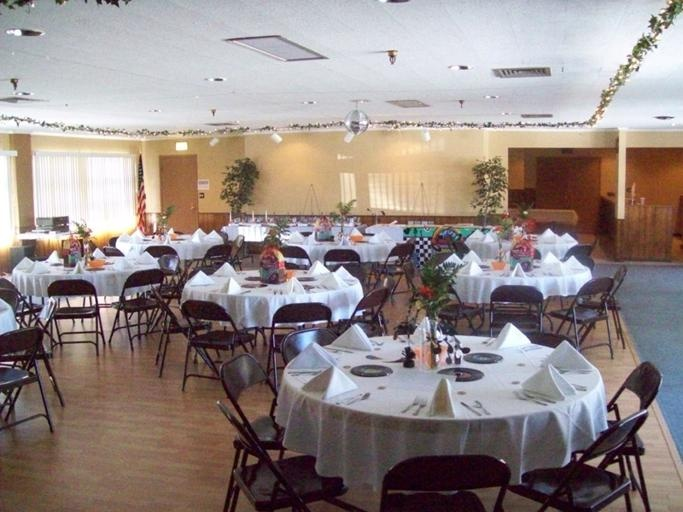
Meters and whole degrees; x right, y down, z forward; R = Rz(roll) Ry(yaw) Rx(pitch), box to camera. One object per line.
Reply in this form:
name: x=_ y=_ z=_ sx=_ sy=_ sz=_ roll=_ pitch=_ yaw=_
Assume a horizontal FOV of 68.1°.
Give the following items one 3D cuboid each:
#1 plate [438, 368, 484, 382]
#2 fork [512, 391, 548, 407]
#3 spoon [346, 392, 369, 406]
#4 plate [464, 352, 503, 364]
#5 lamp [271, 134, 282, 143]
plate: x=0.753 y=0.730 z=3.133 sx=0.239 sy=0.018 sz=0.249 roll=-6 pitch=6 yaw=-28
fork: x=1.037 y=0.775 z=2.765 sx=0.051 sy=0.024 sz=0.170 roll=-20 pitch=13 yaw=-30
spoon: x=0.103 y=0.787 z=2.787 sx=0.037 sy=0.014 sz=0.179 roll=6 pitch=6 yaw=25
plate: x=0.955 y=0.688 z=3.414 sx=0.264 sy=0.017 sz=0.238 roll=-3 pitch=6 yaw=-1
lamp: x=-1.829 y=-3.345 z=14.299 sx=0.263 sy=0.262 sz=0.407 roll=-8 pitch=29 yaw=-17
